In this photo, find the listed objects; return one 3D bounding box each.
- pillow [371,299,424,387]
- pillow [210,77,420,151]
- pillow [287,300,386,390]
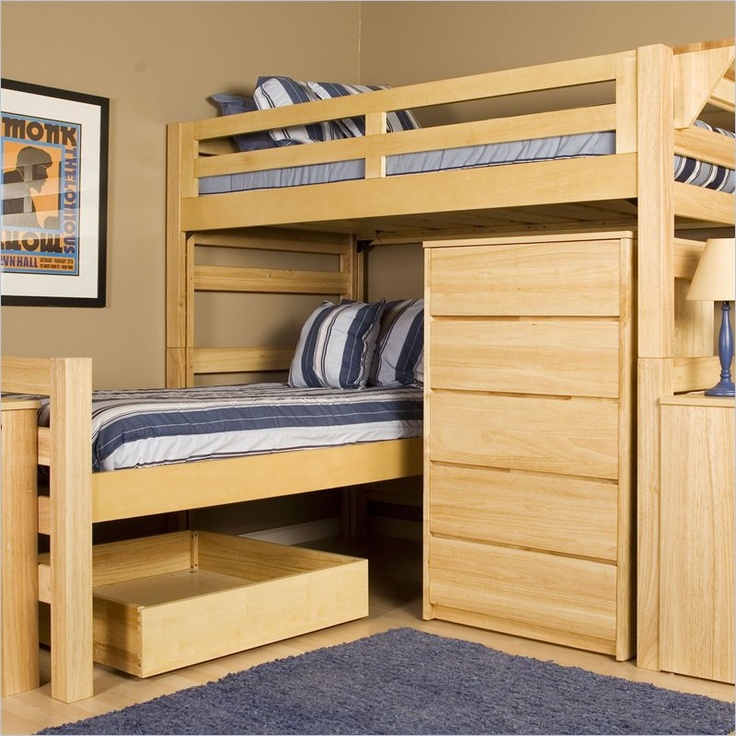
[{"bbox_3d":[0.128,-0.102,3.354,0.117,0.312,0.373,17,-7,-33],"label":"pillow"},{"bbox_3d":[-0.212,-1.023,3.223,0.709,0.167,0.544,-8,23,-26],"label":"pillow"},{"bbox_3d":[-0.132,-0.087,3.364,0.496,0.370,0.281,2,-2,41],"label":"pillow"}]
